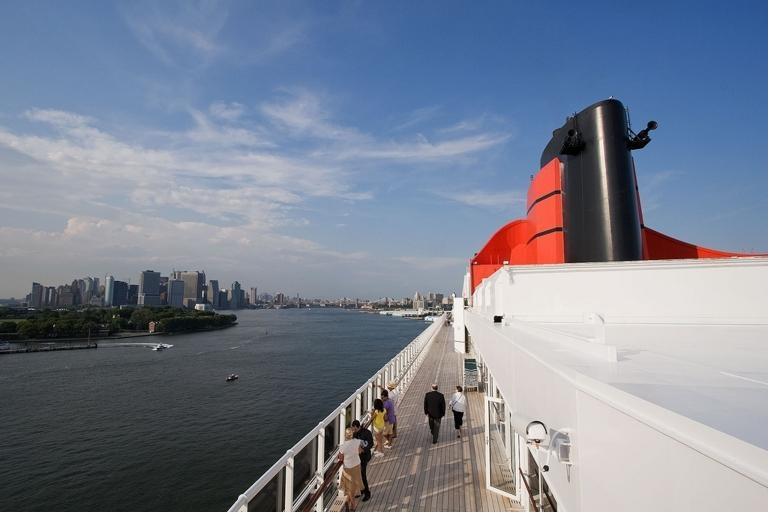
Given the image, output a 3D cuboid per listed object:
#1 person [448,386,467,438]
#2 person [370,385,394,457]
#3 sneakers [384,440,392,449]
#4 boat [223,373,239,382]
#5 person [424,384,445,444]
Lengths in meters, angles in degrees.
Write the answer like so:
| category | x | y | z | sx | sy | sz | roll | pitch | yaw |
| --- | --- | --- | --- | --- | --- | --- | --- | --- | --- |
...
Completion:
| category | x | y | z | sx | sy | sz | roll | pitch | yaw |
| --- | --- | --- | --- | --- | --- | --- | --- | --- | --- |
| person | 1.937 | 3.983 | 11.439 | 0.323 | 1.363 | 0.773 | -2 | -4 | 8 |
| person | -0.035 | 3.927 | 10.575 | 0.461 | 1.441 | 0.966 | -3 | -4 | 20 |
| sneakers | 0.091 | 4.615 | 10.753 | 0.216 | 0.151 | 0.074 | 1 | 1 | -27 |
| boat | -12.558 | 9.929 | 35.987 | 1.107 | 0.471 | 0.551 | -8 | -5 | 38 |
| person | 1.279 | 3.926 | 11.142 | 0.474 | 1.426 | 0.981 | -2 | -4 | 5 |
